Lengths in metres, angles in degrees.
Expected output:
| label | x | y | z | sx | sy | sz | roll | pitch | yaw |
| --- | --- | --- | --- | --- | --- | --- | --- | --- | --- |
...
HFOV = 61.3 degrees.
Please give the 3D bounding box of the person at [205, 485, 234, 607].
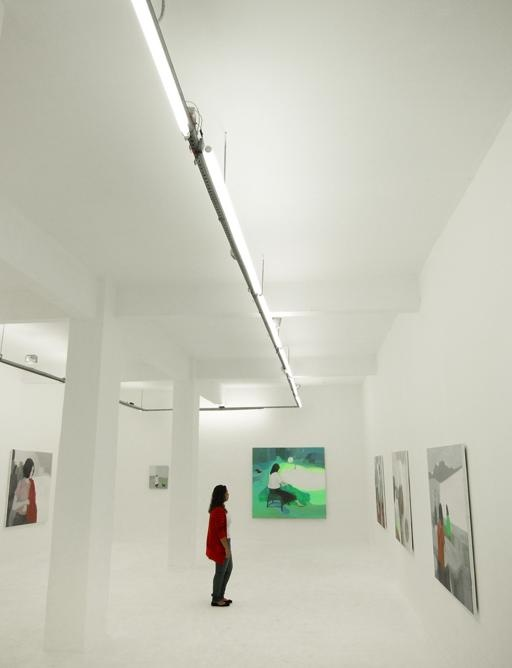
| label | x | y | z | sx | sy | sz | roll | pitch | yaw |
| --- | --- | --- | --- | --- | --- | --- | --- | --- | --- |
| person | -0.343 | 1.965 | 4.035 | 0.249 | 1.033 | 0.094 | 2 | -11 | -7 |
